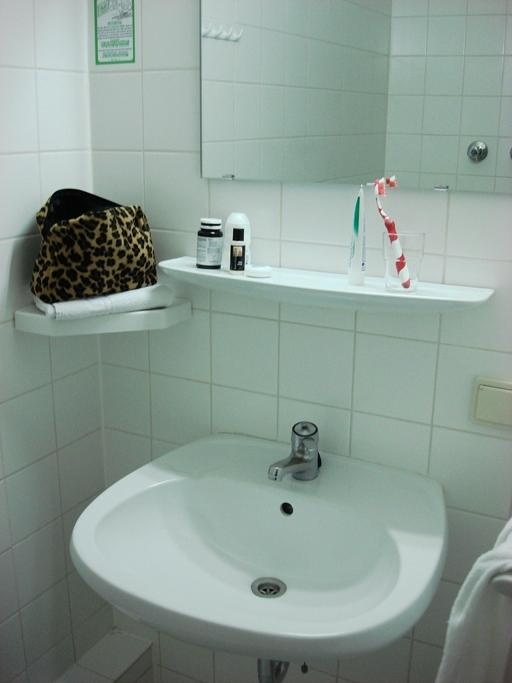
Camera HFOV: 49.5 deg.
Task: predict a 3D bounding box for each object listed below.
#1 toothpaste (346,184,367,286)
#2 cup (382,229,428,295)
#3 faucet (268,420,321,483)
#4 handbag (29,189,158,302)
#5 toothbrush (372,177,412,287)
[{"bbox_3d":[0.183,-0.194,1.013,0.027,0.173,0.096,0,10,10],"label":"toothpaste"},{"bbox_3d":[0.251,-0.134,0.945,0.085,0.144,0.089,-1,5,0],"label":"cup"},{"bbox_3d":[0.093,0.211,1.108,0.060,0.138,0.159,7,13,35],"label":"faucet"},{"bbox_3d":[-0.370,-0.231,1.238,0.253,0.260,0.252,-19,30,-39],"label":"handbag"},{"bbox_3d":[0.240,-0.194,0.982,0.061,0.188,0.151,0,11,10],"label":"toothbrush"}]
